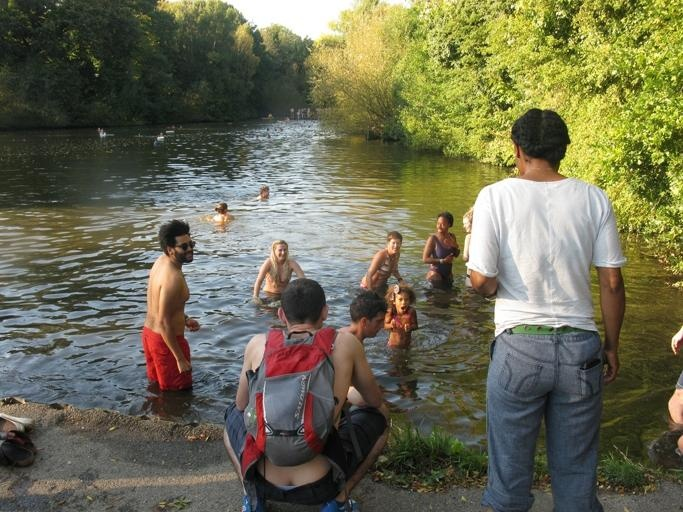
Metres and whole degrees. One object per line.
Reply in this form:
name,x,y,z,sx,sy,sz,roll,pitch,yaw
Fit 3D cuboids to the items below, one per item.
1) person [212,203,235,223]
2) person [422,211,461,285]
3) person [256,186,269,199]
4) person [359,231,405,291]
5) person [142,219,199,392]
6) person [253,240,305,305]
person,-3.974,-1.431,20.394,0.802,0.667,0.432,0,30,-5
person,2.361,-0.178,14.188,0.808,1.670,1.275,2,11,9
person,-3.152,-2.585,24.731,0.481,0.538,1.569,-2,11,-8
person,0.995,0.164,14.461,0.824,1.589,0.573,-29,61,-25
person,-2.592,0.793,8.951,0.723,2.616,0.686,6,13,31
person,-1.302,0.338,12.347,1.221,1.422,0.828,-4,21,-20
